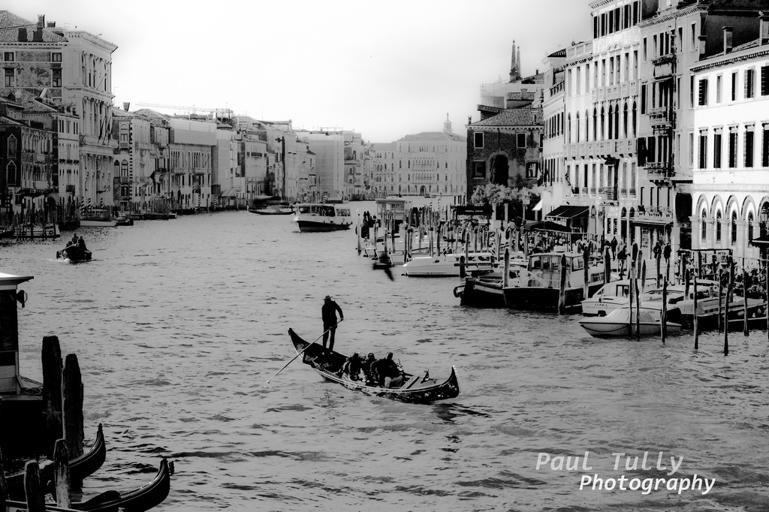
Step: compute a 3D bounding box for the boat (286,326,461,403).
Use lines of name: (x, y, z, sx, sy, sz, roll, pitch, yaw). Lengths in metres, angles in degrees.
boat: (-0.717, 4.901, 64.498, 8.282, 1.274, 1.832, 11, 19, 41)

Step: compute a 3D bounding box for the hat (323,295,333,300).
hat: (-2.802, 2.035, 76.031, 0.488, 0.229, 0.648, 0, -1, -3)
